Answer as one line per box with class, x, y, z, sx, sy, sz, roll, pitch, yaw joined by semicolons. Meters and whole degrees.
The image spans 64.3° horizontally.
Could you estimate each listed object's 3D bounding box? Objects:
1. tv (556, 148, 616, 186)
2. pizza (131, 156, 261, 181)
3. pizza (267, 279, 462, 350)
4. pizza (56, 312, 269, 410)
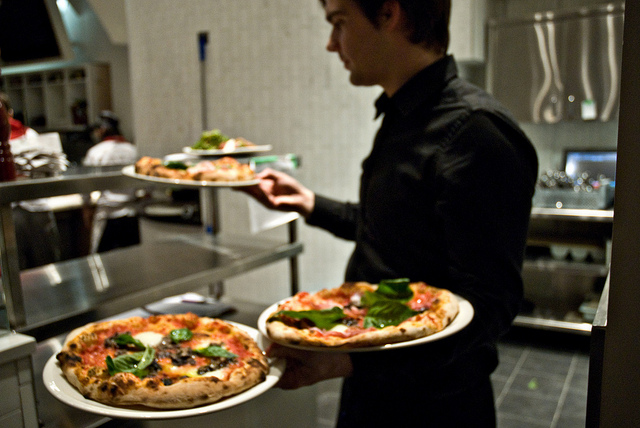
tv;0.567;-0.115;1.073;0.085;0.032;0.137;-1;36;30
pizza;-0.240;-0.092;0.993;0.143;0.020;0.102;5;11;-3
pizza;0.083;0.187;1.010;0.378;0.090;0.218;-4;10;-7
pizza;-0.314;0.276;1.040;0.370;0.051;0.383;6;10;-16
